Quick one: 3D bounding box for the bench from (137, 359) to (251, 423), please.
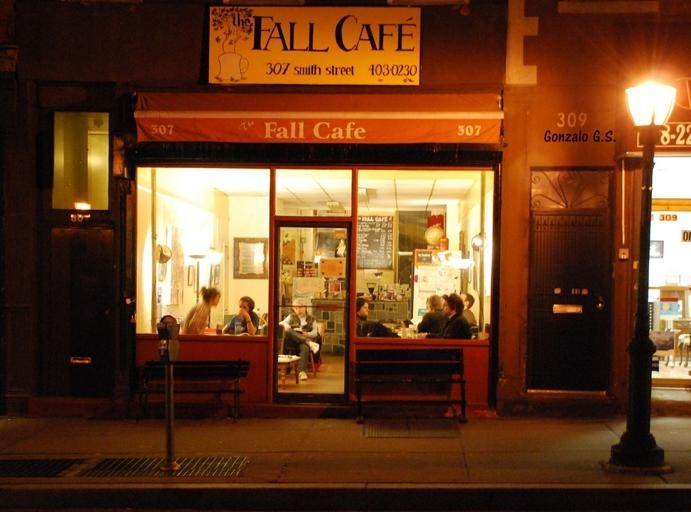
[{"bbox_3d":[-2.485,2.115,12.457,1.645,0.893,0.606,3,2,-10],"label":"bench"}]

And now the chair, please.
[{"bbox_3d":[-0.930,1.600,13.004,0.747,1.106,0.753,2,1,11],"label":"chair"}]

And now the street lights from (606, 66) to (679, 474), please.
[{"bbox_3d":[4.080,0.453,10.746,0.706,6.099,0.926,1,-3,5],"label":"street lights"}]

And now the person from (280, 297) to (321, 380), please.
[{"bbox_3d":[-0.742,1.376,13.167,0.614,1.315,0.615,1,1,9],"label":"person"}]

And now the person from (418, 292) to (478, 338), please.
[{"bbox_3d":[1.668,0.863,12.896,0.688,1.299,0.887,5,-8,7],"label":"person"}]

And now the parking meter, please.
[{"bbox_3d":[-2.466,1.838,10.538,0.431,2.018,0.321,3,-12,-29],"label":"parking meter"}]

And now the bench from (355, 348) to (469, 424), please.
[{"bbox_3d":[1.031,2.095,12.509,1.585,1.203,1.259,2,1,-9],"label":"bench"}]
